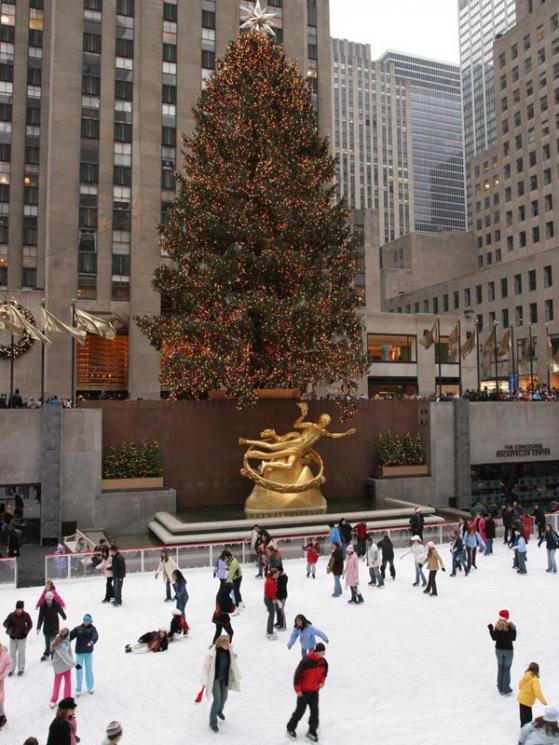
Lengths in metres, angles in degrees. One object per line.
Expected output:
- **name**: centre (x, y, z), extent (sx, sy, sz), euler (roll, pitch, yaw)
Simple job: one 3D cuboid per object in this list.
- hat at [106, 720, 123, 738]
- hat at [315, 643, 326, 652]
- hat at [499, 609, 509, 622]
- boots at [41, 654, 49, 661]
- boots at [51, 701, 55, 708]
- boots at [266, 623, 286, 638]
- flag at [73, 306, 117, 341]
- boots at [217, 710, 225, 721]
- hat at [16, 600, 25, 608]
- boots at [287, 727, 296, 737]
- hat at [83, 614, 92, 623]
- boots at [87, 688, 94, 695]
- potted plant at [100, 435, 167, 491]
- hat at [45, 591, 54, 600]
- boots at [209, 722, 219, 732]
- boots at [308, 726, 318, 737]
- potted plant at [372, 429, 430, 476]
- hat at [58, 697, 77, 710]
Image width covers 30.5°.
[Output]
- **hat**: centre (-2.616, 5.626, 16.251), extent (0.261, 0.325, 0.318), euler (-3, -15, -2)
- **hat**: centre (0.715, 4.841, 18.041), extent (0.167, 0.199, 0.132), euler (-12, -15, 34)
- **hat**: centre (4.270, 4.669, 19.621), extent (0.148, 0.212, 0.531), euler (0, -2, 9)
- **boots**: centre (-4.807, 5.906, 21.148), extent (0.189, 0.100, 0.078), euler (2, -7, -1)
- **boots**: centre (-4.180, 6.199, 19.063), extent (0.058, 0.126, 0.119), euler (2, 30, 5)
- **boots**: centre (-0.113, 5.741, 22.625), extent (0.468, 0.382, 0.162), euler (-10, 16, -37)
- **flag**: centre (-7.595, -2.040, 42.340), extent (1.888, 1.277, 1.246), euler (15, -48, -7)
- **boots**: centre (-1.069, 6.282, 18.728), extent (0.077, 0.096, 0.311), euler (36, 9, -4)
- **hat**: centre (-5.015, 4.546, 19.925), extent (0.120, 0.185, 0.256), euler (1, -2, -18)
- **boots**: centre (0.217, 6.410, 18.283), extent (0.179, 0.211, 0.205), euler (1, -2, -5)
- **hat**: centre (-3.627, 4.704, 19.515), extent (0.114, 0.193, 0.305), euler (1, -2, -1)
- **boots**: centre (-3.595, 6.138, 19.688), extent (0.073, 0.084, 0.131), euler (17, -19, -40)
- **potted plant**: centre (-5.036, 3.376, 35.748), extent (2.009, 1.979, 1.020), euler (0, -30, -10)
- **hat**: centre (-4.607, 4.491, 20.652), extent (0.108, 0.151, 0.158), euler (0, -15, -6)
- **boots**: centre (-1.147, 6.385, 18.469), extent (0.184, 0.170, 0.220), euler (2, -2, -24)
- **boots**: centre (0.605, 6.393, 18.221), extent (0.166, 0.231, 0.189), euler (2, 5, 13)
- **potted plant**: centre (4.767, 3.284, 40.377), extent (2.120, 1.609, 0.753), euler (2, -3, -28)
- **hat**: centre (-3.378, 5.353, 16.625), extent (0.190, 0.115, 0.283), euler (0, -5, 11)
